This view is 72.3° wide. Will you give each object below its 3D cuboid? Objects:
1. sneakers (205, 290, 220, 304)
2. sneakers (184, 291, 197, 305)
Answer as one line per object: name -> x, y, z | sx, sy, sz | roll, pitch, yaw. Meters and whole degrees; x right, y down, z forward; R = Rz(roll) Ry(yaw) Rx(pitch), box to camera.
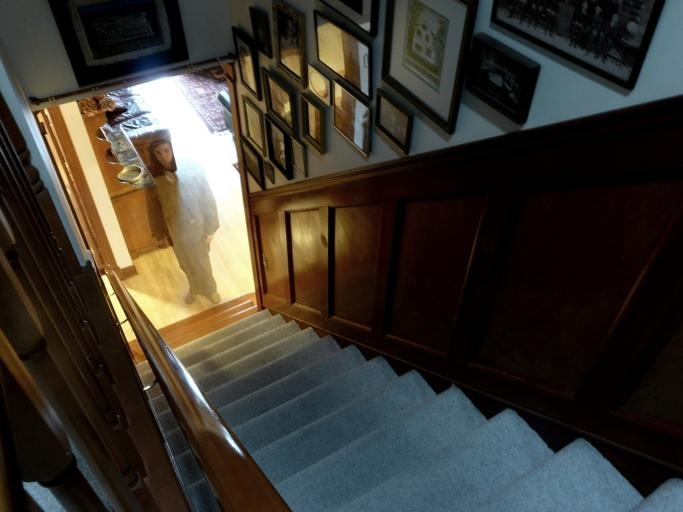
sneakers -> -1.776, 0.589, 6.577 | 0.174, 0.082, 0.203 | -26, 40, -30
sneakers -> -2.107, 0.588, 6.575 | 0.146, 0.067, 0.188 | -13, 35, -14
